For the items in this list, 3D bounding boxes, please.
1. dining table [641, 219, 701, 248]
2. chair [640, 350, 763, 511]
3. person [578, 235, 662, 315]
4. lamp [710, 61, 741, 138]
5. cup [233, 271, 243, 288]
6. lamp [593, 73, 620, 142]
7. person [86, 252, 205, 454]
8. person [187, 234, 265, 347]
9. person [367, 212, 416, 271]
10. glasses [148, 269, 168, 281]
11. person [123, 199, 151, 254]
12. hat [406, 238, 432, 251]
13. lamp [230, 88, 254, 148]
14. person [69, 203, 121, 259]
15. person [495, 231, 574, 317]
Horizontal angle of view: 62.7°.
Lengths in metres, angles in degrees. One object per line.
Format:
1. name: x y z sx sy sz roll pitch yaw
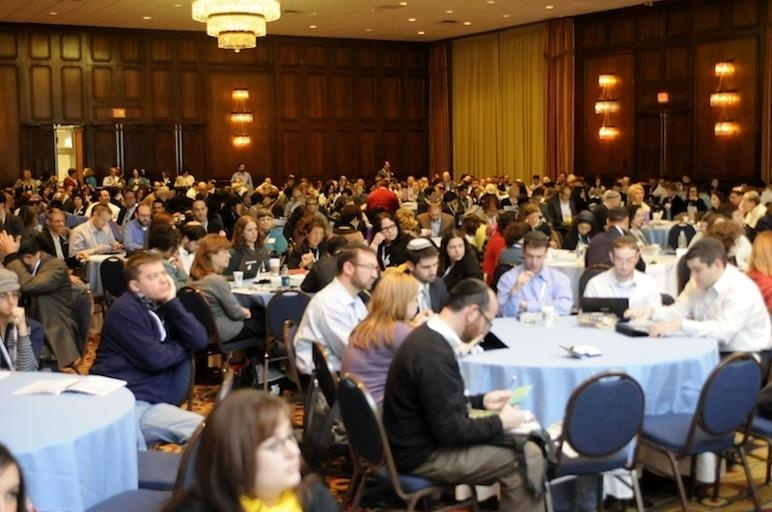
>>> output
1. dining table: 4.306 -0.342 9.521 0.704 0.499 0.935 0 6 -7
2. chair: 1.940 1.066 3.768 0.760 1.049 0.396 -3 7 -1
3. person: 1.970 0.225 5.153 0.702 0.706 0.419 1 23 24
4. lamp: 8.557 -3.887 15.678 0.650 1.854 0.345 1 8 28
5. cup: -1.528 0.241 6.532 0.128 0.136 0.132 0 9 0
6. lamp: 6.373 -4.186 17.889 0.723 1.824 0.315 3 9 38
7. person: -1.569 0.801 4.340 0.842 1.512 0.562 6 4 -10
8. person: -1.497 0.279 6.156 0.893 1.011 0.574 -9 13 -44
9. person: 0.057 0.043 7.222 0.383 0.308 0.945 -11 49 10
10. glasses: -1.509 0.122 4.153 0.086 0.050 0.066 -10 -5 44
11. person: -3.424 -0.399 8.623 0.388 0.619 2.281 -5 6 -21
12. hat: 0.287 -0.096 5.032 0.215 0.087 0.157 -2 6 1
13. lamp: -4.722 -4.448 20.602 0.784 1.822 0.351 -4 7 -13
14. person: -4.031 -0.332 8.672 0.511 0.753 0.783 7 7 11
15. person: 1.309 0.278 5.533 0.647 0.913 0.473 1 12 10
